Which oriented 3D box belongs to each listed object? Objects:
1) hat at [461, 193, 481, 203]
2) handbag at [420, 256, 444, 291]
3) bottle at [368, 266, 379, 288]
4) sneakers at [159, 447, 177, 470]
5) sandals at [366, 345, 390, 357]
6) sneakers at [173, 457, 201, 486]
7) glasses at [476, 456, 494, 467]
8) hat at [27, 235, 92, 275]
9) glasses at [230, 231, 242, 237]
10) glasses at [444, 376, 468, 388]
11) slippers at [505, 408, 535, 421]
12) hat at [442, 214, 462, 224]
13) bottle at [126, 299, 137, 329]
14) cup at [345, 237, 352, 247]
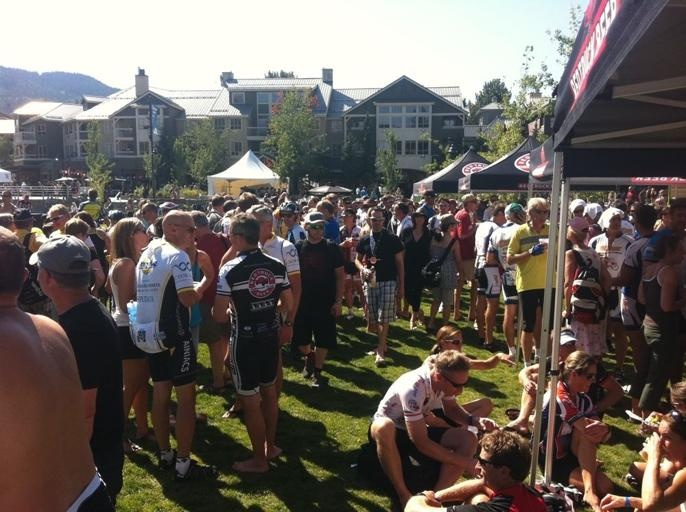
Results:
[{"bbox_3d":[2.188,-1.008,12.159,0.312,0.185,0.492,3,9,27],"label":"hat"},{"bbox_3d":[1.395,0.279,11.133,0.258,0.448,0.405,2,-1,13],"label":"handbag"},{"bbox_3d":[0.410,0.294,9.766,0.158,0.382,0.206,3,3,12],"label":"bottle"},{"bbox_3d":[-1.704,1.970,6.852,0.096,0.112,0.232,1,-7,-5],"label":"sneakers"},{"bbox_3d":[0.478,1.361,10.180,0.354,0.146,0.167,-6,23,33],"label":"sandals"},{"bbox_3d":[-1.503,1.992,6.722,0.211,0.232,0.186,-2,10,-12],"label":"sneakers"},{"bbox_3d":[1.055,1.528,5.248,0.070,0.027,0.062,20,-2,-5],"label":"glasses"},{"bbox_3d":[-2.093,-0.050,5.227,0.317,0.217,0.251,9,16,33],"label":"hat"},{"bbox_3d":[-1.028,-0.212,6.763,0.138,0.049,0.028,8,12,33],"label":"glasses"},{"bbox_3d":[1.003,1.141,6.334,0.181,0.106,0.056,-3,10,-13],"label":"glasses"},{"bbox_3d":[1.915,1.718,7.662,0.239,0.143,0.532,-2,-7,3],"label":"slippers"},{"bbox_3d":[1.668,-0.587,11.151,0.206,0.130,0.154,-4,11,-32],"label":"hat"},{"bbox_3d":[-1.984,0.521,6.662,0.075,0.230,0.425,-3,12,-20],"label":"bottle"},{"bbox_3d":[0.088,-0.216,11.518,0.102,0.117,0.212,12,-34,5],"label":"cup"}]
